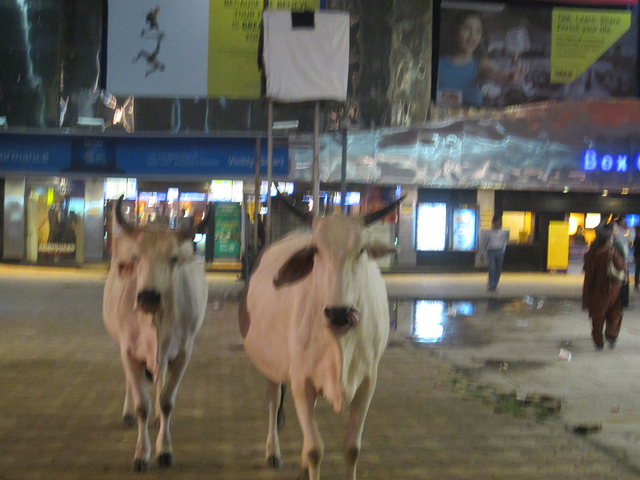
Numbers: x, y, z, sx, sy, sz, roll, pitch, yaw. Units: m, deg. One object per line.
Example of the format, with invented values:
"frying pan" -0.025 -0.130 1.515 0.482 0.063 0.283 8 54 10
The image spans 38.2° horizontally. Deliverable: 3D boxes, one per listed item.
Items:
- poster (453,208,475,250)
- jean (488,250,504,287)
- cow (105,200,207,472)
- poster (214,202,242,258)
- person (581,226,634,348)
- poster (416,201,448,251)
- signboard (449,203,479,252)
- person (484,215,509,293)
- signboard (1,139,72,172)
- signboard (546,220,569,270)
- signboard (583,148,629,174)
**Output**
"poster" 5.225 -0.452 33.462 0.985 2.155 0.214 0 34 7
"jean" 5.254 0.828 27.721 0.423 1.325 0.713 4 13 13
"cow" -2.983 1.607 16.950 1.733 4.622 1.760 -2 12 -13
"poster" -3.085 -0.332 30.959 0.907 1.772 0.462 -1 12 -9
"person" 6.582 1.093 21.262 1.005 2.679 1.075 5 13 18
"poster" 4.013 -0.499 33.084 1.111 1.868 0.481 1 12 0
"signboard" 5.062 -0.500 33.475 1.363 2.353 0.217 2 39 7
"person" 5.269 0.471 27.771 0.648 2.320 1.125 3 13 11
"signboard" -8.487 -2.511 27.421 1.992 0.918 0.137 3 12 4
"signboard" 8.751 0.157 33.884 0.761 1.756 0.271 5 12 17
"signboard" 9.682 -2.688 31.313 1.584 0.826 0.076 -1 12 -10
